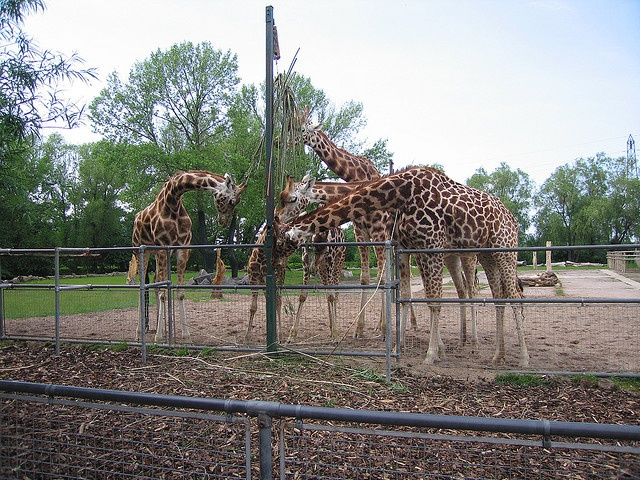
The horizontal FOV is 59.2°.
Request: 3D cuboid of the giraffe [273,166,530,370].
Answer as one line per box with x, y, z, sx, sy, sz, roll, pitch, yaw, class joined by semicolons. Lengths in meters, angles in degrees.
1.320;0.390;8.236;3.968;3.023;0.947;2;-5;-17;giraffe
